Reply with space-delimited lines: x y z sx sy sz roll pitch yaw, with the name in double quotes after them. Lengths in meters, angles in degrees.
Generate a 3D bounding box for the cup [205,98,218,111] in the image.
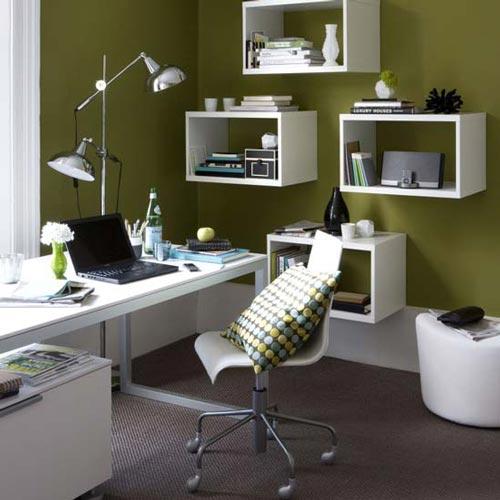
-0.261 -0.954 3.116 0.079 0.077 0.079 1 6 0 "cup"

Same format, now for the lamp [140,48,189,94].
-0.409 -0.826 2.194 0.128 0.186 0.228 -5 7 -45 "lamp"

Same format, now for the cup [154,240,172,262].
-0.419 -0.009 2.259 0.084 0.103 0.056 0 -1 -29 "cup"

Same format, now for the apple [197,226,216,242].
-0.214 -0.076 2.330 0.078 0.098 0.082 -2 6 -28 "apple"

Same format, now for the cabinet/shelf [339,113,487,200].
0.890 -0.519 2.578 0.739 0.454 0.417 4 6 32 "cabinet/shelf"

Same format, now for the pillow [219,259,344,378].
0.117 0.235 1.807 0.342 0.335 0.387 -2 6 -19 "pillow"

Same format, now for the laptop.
-0.571 0.004 2.001 0.303 0.251 0.349 8 11 27 "laptop"

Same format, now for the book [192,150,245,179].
-0.188 -0.550 3.047 0.377 0.164 0.111 4 6 32 "book"

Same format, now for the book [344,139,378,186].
0.617 -0.494 2.655 0.082 0.255 0.229 1 10 24 "book"

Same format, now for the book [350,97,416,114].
0.706 -0.765 2.502 0.328 0.103 0.112 2 5 13 "book"

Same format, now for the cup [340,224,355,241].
0.553 -0.107 2.653 0.068 0.081 0.079 11 16 41 "cup"

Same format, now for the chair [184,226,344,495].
-0.018 0.294 2.159 0.655 1.238 0.872 1 4 -11 "chair"
